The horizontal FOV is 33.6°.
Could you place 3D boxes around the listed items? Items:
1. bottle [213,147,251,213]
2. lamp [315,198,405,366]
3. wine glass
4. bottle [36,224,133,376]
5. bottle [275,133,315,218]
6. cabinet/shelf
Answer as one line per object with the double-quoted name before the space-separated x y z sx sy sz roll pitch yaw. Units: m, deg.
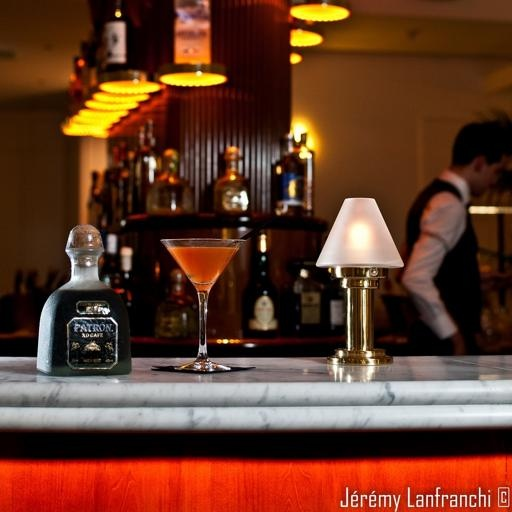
"bottle" -0.093 -0.280 3.068 0.122 0.278 0.300 1 -1 -3
"lamp" 0.204 0.049 1.701 0.165 0.333 0.078 0 -1 7
"wine glass" -0.110 0.093 1.641 0.166 0.247 0.158 0 -1 38
"bottle" -0.314 0.077 1.550 0.167 0.272 0.132 1 -1 -14
"bottle" 0.132 -0.310 3.182 0.155 0.329 0.292 0 -1 2
"cabinet/shelf" -0.113 0.115 3.048 0.660 0.343 0.567 1 -5 -8
